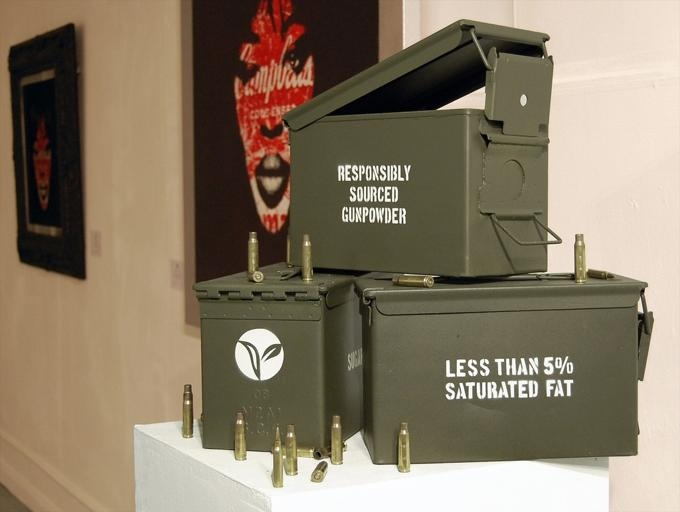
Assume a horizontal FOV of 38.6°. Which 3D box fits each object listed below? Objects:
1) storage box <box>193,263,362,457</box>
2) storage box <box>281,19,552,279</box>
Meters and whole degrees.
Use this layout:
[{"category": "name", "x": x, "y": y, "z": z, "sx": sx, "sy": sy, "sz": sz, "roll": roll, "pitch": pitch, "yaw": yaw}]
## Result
[{"category": "storage box", "x": -0.222, "y": 0.131, "z": 2.612, "sx": 0.351, "sy": 0.496, "sz": 0.483, "roll": -2, "pitch": 33, "yaw": -12}, {"category": "storage box", "x": 0.211, "y": -0.262, "z": 2.587, "sx": 0.594, "sy": 0.645, "sz": 0.375, "roll": 4, "pitch": 0, "yaw": 41}]
